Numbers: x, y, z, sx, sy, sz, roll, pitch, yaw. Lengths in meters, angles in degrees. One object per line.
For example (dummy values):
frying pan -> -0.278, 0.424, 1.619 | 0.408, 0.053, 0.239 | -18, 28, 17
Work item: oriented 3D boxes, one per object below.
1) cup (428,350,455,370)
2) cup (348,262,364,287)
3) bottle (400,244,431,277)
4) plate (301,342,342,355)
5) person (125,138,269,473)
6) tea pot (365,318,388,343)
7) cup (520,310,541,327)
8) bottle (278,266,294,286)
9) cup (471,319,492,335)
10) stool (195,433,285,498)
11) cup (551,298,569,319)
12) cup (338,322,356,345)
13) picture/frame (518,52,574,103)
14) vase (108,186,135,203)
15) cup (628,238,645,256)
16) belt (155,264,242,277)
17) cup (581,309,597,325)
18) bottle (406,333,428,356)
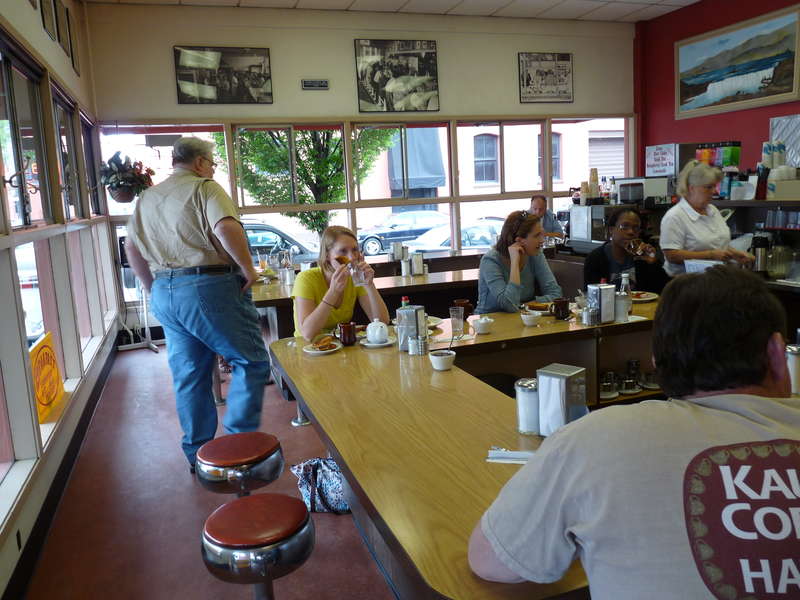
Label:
cup -> 0.174, 0.255, 2.643 | 0.085, 0.057, 0.085 | -3, 1, 0
cup -> -0.241, -0.148, 3.387 | 0.080, 0.144, 0.123 | -4, 11, -3
bottle -> 0.106, -0.339, 5.640 | 0.278, 0.363, 0.342 | 1, 6, 25
plate -> -0.388, 0.239, 3.018 | 0.193, 0.033, 0.147 | -5, 12, -9
person -> -1.141, 0.068, 3.459 | 0.797, 1.963, 0.405 | 3, 12, 28
tea pot -> -0.112, 0.157, 3.107 | 0.098, 0.107, 0.104 | -4, 5, 0
cup -> 0.736, 0.100, 3.385 | 0.081, 0.063, 0.093 | 1, 1, 8
bottle -> -0.963, -0.200, 5.145 | 0.151, 0.162, 0.116 | 1, 10, 9
cup -> 0.432, 0.142, 3.226 | 0.076, 0.081, 0.089 | 2, -1, 26
stool -> -0.571, 0.558, 2.219 | 0.227, 0.235, 0.241 | 2, 10, 6
cup -> 0.920, 0.051, 3.431 | 0.109, 0.114, 0.071 | -2, 8, -2
cup -> -0.271, 0.174, 3.160 | 0.110, 0.122, 0.073 | 0, 3, 22
picture/frame -> 1.988, -3.097, 8.329 | 0.674, 0.622, 0.047 | -2, 5, -20
vase -> -2.749, -1.019, 5.953 | 0.181, 0.141, 0.174 | -1, 2, -23
cup -> 1.509, -0.331, 3.826 | 0.104, 0.095, 0.083 | -3, 11, 1
belt -> -1.120, -0.158, 3.299 | 0.457, 0.067, 0.113 | -4, 11, 0
cup -> 1.045, 0.094, 3.361 | 0.074, 0.093, 0.087 | 0, 3, -26
bottle -> 0.081, 0.215, 2.840 | 0.088, 0.091, 0.070 | 1, 6, 11
